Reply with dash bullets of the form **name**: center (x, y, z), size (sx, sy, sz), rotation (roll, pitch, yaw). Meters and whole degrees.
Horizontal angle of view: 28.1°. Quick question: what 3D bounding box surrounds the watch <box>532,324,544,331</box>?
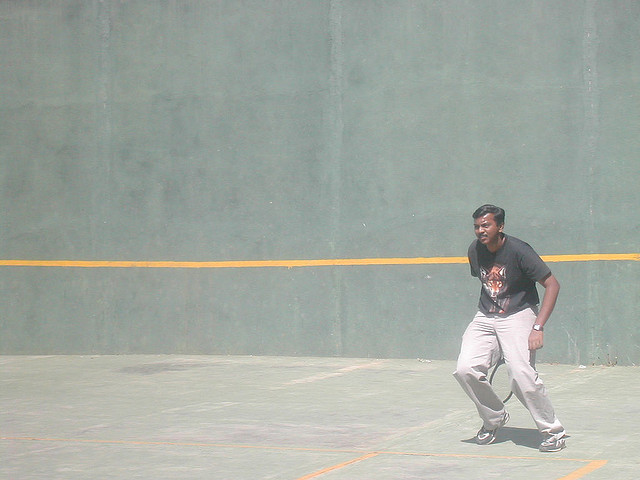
- **watch**: center (2.302, 0.929, 13.489), size (0.104, 0.048, 0.101), rotation (13, -1, -36)
